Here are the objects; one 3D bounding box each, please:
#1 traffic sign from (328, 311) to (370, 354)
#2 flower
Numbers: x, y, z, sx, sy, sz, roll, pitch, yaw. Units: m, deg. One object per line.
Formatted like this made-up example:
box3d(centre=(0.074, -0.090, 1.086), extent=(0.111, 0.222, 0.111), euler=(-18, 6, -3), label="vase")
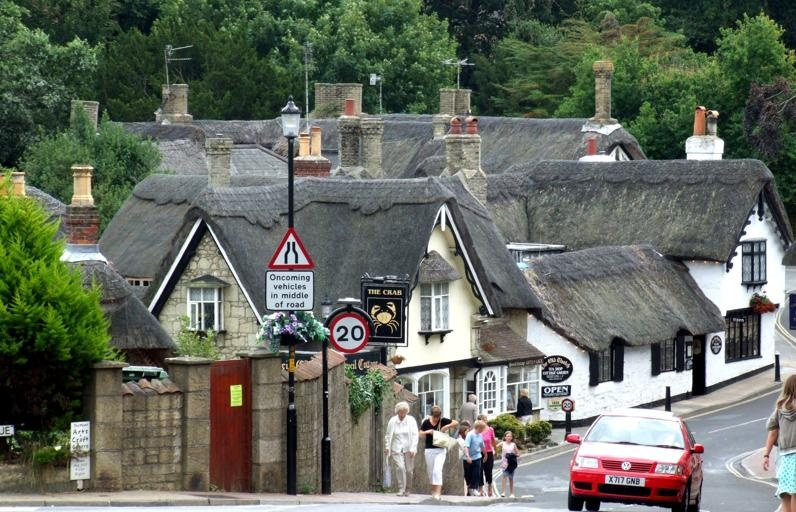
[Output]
box3d(centre=(-2.115, 2.967, 93.035), extent=(1.898, 1.819, 0.250), euler=(1, 3, 4), label="traffic sign")
box3d(centre=(-4.320, 2.831, 90.911), extent=(2.629, 1.403, 1.080), euler=(-6, 13, -7), label="flower")
